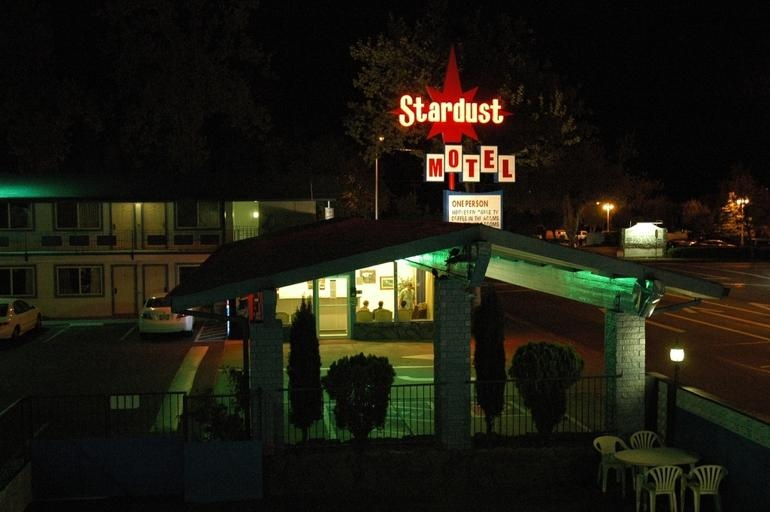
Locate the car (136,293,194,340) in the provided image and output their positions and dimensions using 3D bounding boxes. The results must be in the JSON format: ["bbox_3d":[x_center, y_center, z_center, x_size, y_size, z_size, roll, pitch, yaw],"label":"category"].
[{"bbox_3d":[-9.291,2.533,32.200,2.090,1.994,1.369,-6,13,-25],"label":"car"}]

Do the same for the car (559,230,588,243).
[{"bbox_3d":[21.648,-2.127,87.683,2.521,1.250,1.672,-1,1,1],"label":"car"}]

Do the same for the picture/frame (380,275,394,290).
[{"bbox_3d":[0.038,1.149,32.451,0.583,0.498,0.047,0,-1,-7],"label":"picture/frame"}]
